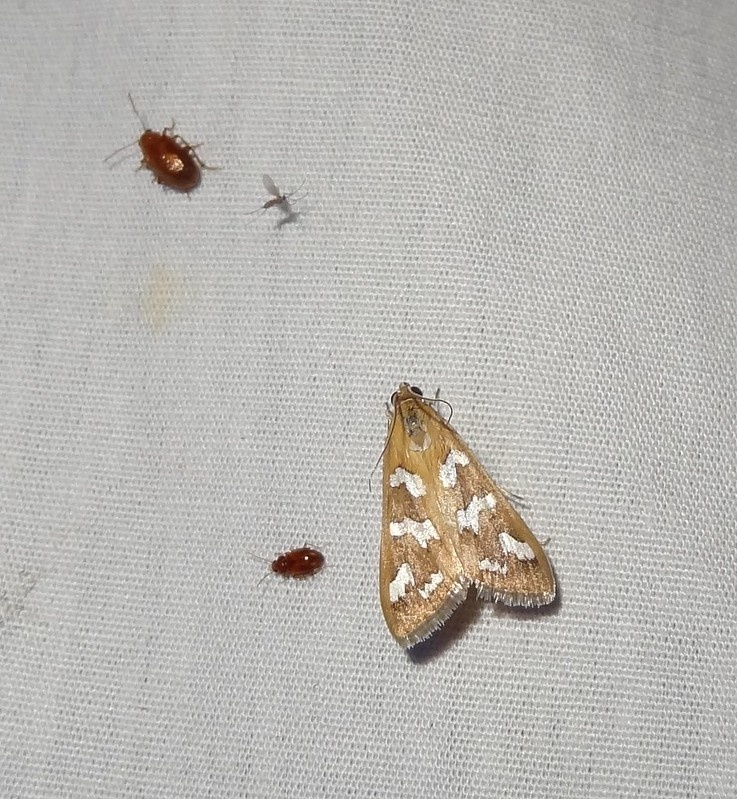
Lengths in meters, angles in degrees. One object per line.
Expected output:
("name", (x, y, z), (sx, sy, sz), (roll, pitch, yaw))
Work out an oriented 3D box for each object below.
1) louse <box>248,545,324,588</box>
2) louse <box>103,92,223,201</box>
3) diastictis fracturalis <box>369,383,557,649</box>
("louse", (-0.314, 0.666, 4.691), (0.246, 0.282, 0.067), (-6, -7, 7))
("louse", (-0.841, -1.036, 4.872), (0.256, 0.385, 0.075), (-40, -3, -1))
("diastictis fracturalis", (0.287, 0.520, 4.881), (0.672, 0.429, 1.377), (-10, 36, -10))
